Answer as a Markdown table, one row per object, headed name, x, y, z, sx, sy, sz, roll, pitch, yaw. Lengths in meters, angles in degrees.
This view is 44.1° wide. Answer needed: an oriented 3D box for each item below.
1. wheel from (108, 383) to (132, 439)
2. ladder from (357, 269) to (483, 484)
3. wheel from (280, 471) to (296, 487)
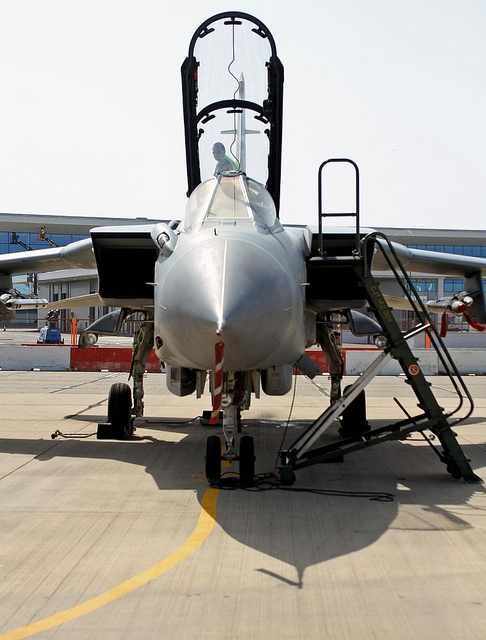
| name | x | y | z | sx | sy | sz | roll | pitch | yaw |
| --- | --- | --- | --- | --- | --- | --- | --- | --- | --- |
| wheel | -1.687 | 1.237 | 8.187 | 0.307 | 0.724 | 0.310 | 0 | -1 | 0 |
| ladder | 2.918 | 0.895 | 9.793 | 0.615 | 4.151 | 0.601 | -21 | -1 | 7 |
| wheel | 0.421 | 1.468 | 5.645 | 0.132 | 0.157 | 0.206 | 0 | -1 | 2 |
